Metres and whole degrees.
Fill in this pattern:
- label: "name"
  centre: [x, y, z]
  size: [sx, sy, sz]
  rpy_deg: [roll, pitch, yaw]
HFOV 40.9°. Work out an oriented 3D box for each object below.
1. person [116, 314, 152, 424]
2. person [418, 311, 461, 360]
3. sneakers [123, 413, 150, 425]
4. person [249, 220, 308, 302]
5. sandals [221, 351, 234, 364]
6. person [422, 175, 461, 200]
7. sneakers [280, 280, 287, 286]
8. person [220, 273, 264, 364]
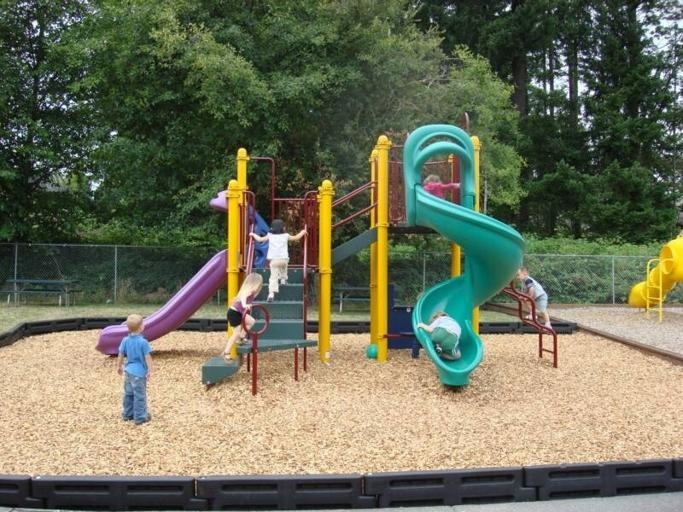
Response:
- label: "person"
  centre: [-4.809, 2.613, 21.336]
  size: [0.729, 2.514, 0.685]
  rpy_deg: [-1, 4, -13]
- label: "person"
  centre: [2.447, 1.936, 22.606]
  size: [1.013, 0.727, 1.340]
  rpy_deg: [3, 38, -14]
- label: "sneakers"
  centre: [-4.727, 3.784, 21.220]
  size: [0.656, 0.293, 0.227]
  rpy_deg: [0, -2, -2]
- label: "person"
  centre: [-1.640, 0.068, 23.847]
  size: [0.783, 2.085, 1.236]
  rpy_deg: [4, 5, 44]
- label: "sandals"
  centre: [-2.789, 2.480, 22.523]
  size: [0.258, 0.275, 0.366]
  rpy_deg: [-1, 4, -15]
- label: "person"
  centre: [2.661, -1.847, 24.340]
  size: [0.807, 0.870, 0.292]
  rpy_deg: [9, 16, 40]
- label: "sneakers"
  centre: [-1.485, 0.686, 23.681]
  size: [0.098, 0.121, 0.157]
  rpy_deg: [-1, -8, 18]
- label: "person"
  centre: [-2.439, 1.490, 22.521]
  size: [0.944, 2.133, 0.599]
  rpy_deg: [-1, 4, -13]
